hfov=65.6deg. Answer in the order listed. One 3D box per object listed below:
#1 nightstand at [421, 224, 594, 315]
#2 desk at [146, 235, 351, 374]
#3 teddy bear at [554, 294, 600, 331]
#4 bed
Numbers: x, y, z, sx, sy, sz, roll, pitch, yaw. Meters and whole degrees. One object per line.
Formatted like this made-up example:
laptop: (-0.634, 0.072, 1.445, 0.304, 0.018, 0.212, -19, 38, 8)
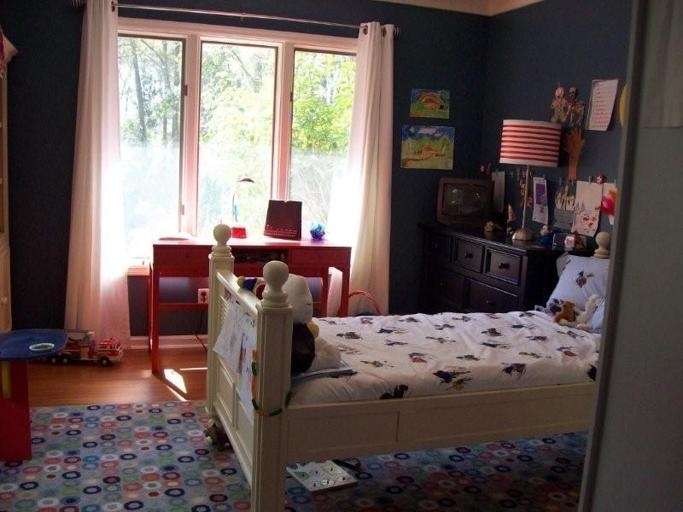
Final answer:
nightstand: (1.081, 0.214, 4.032, 0.408, 0.753, 1.238, -4, 12, -23)
desk: (-0.699, 0.376, 4.075, 1.435, 0.947, 0.512, 2, 3, -18)
teddy bear: (1.304, 0.306, 2.945, 0.221, 0.151, 0.087, -23, 31, -34)
bed: (0.334, 0.394, 2.519, 1.752, 0.914, 1.145, 0, 8, -13)
